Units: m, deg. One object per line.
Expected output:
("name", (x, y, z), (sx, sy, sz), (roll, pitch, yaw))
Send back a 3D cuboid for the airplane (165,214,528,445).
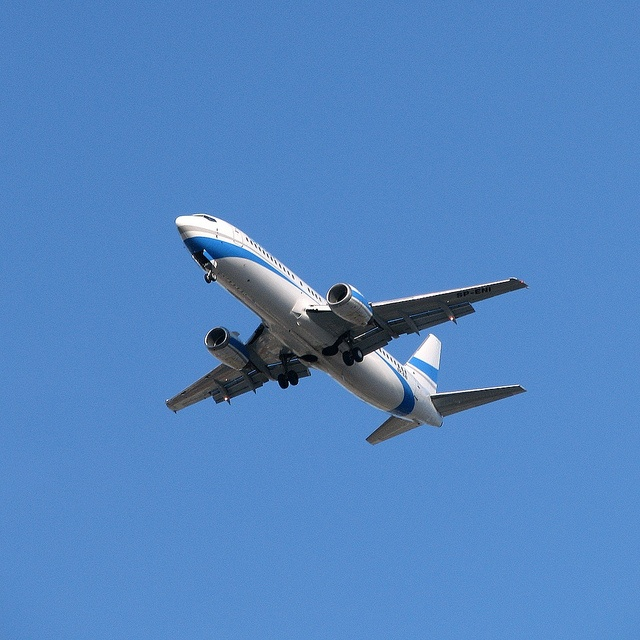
("airplane", (-0.579, 0.187, 43.956), (10.980, 3.992, 11.065), (26, -23, -20))
